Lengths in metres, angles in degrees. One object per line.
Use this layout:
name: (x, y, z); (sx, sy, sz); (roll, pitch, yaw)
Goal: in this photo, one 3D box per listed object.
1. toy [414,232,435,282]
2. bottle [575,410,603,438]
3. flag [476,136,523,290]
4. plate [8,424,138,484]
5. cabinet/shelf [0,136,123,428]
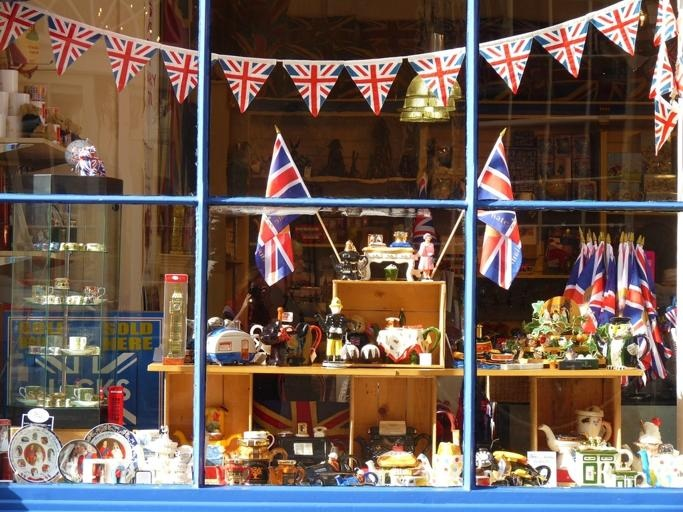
toy: (0.576, -0.008, 9.718); (0.141, 0.311, 0.110); (1, 17, 2)
bottle: (1.711, 1.166, 9.746); (0.156, 0.202, 0.171); (4, -4, 0)
flag: (1.055, -0.316, 9.236); (0.331, 1.084, 0.153); (8, 36, 9)
plate: (-1.660, 1.219, 8.712); (0.767, 0.354, 0.289); (1, -6, -16)
cabinet/shelf: (-1.927, 0.385, 9.979); (0.970, 1.643, 0.748); (3, -7, -35)
